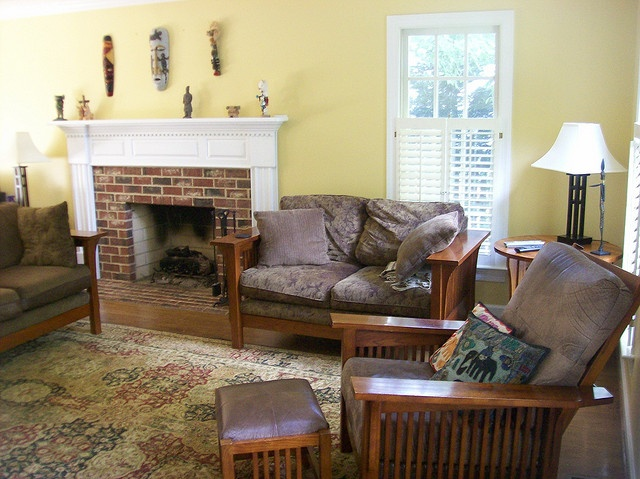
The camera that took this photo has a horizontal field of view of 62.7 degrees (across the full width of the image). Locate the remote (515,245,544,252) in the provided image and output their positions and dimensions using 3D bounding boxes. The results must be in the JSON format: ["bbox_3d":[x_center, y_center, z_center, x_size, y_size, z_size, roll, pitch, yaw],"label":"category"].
[{"bbox_3d":[1.464,0.059,3.713,0.162,0.020,0.088,-4,15,-1],"label":"remote"}]

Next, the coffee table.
[{"bbox_3d":[1.613,0.136,3.765,0.695,0.467,0.664,-7,14,-20],"label":"coffee table"}]

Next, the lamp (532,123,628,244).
[{"bbox_3d":[1.804,-0.396,3.710,0.447,0.848,0.384,-3,12,-14],"label":"lamp"}]

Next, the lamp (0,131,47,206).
[{"bbox_3d":[-3.100,-0.765,5.623,0.337,0.794,0.737,-7,13,-31],"label":"lamp"}]

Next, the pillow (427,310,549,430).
[{"bbox_3d":[0.779,0.584,2.369,0.131,0.414,0.434,45,-11,-28],"label":"pillow"}]
